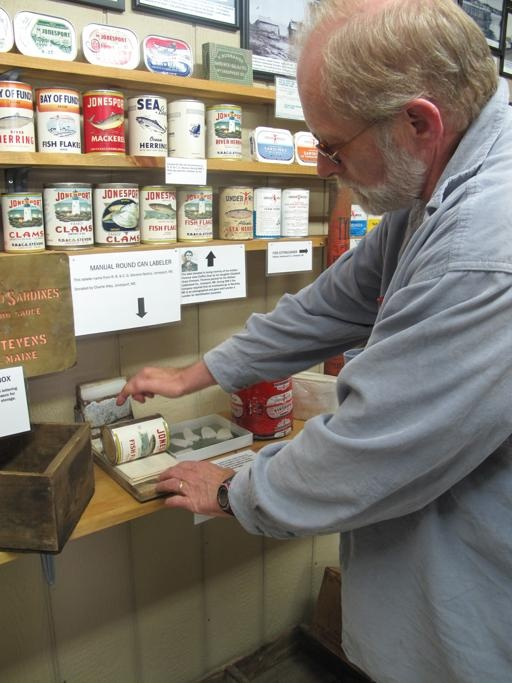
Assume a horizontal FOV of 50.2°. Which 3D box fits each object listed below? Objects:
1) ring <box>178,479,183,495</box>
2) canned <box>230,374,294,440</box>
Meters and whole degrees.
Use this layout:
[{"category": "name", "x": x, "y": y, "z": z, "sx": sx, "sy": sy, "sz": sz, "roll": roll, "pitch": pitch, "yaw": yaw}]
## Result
[{"category": "ring", "x": -0.134, "y": 0.259, "z": 0.974, "sx": 0.007, "sy": 0.018, "sz": 0.017, "roll": 5, "pitch": 17, "yaw": -22}, {"category": "canned", "x": 0.027, "y": 0.159, "z": 1.360, "sx": 0.144, "sy": 0.133, "sz": 0.144, "roll": -3, "pitch": 5, "yaw": 13}]
